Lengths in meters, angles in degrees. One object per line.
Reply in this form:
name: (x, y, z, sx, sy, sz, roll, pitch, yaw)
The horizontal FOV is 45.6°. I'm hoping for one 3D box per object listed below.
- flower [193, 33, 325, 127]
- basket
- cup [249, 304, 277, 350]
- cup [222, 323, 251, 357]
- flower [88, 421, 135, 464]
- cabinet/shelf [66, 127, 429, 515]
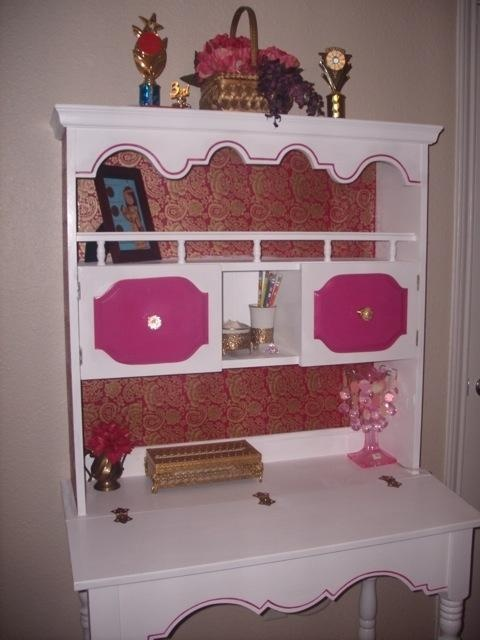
flower: (0.107, -0.788, 1.874, 0.357, 0.221, 0.519, -5, 17, -26)
basket: (-0.023, -0.819, 1.762, 0.201, 0.399, 0.365, 0, 10, -5)
cup: (0.069, 0.016, 1.985, 0.097, 0.120, 0.092, -2, 0, 0)
cup: (-0.016, 0.060, 1.898, 0.092, 0.093, 0.110, 0, 2, -4)
flower: (-0.414, 0.387, 1.842, 0.173, 0.104, 0.162, -6, -3, -28)
cabinet/shelf: (0.004, -0.005, 1.849, 1.269, 1.085, 0.318, -2, 11, -8)
